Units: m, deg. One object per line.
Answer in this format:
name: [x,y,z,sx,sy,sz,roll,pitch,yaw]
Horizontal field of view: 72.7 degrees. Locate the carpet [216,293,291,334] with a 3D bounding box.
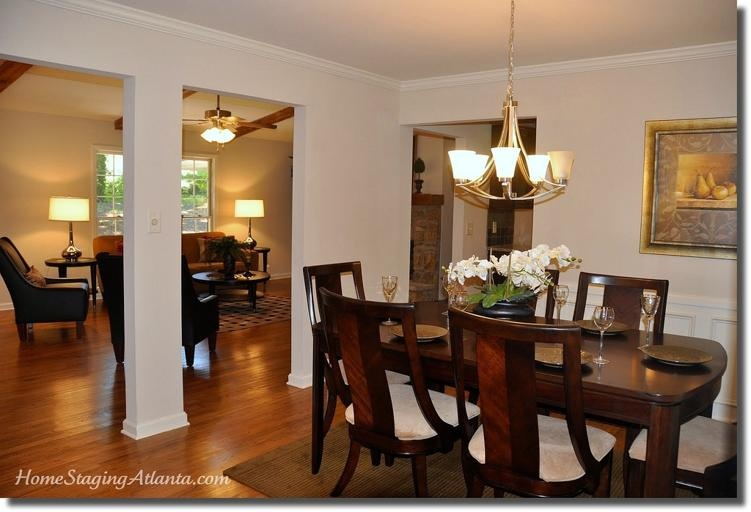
carpet: [-1.722,0.808,7.330,1.029,0.088,1.898,-1,9,-14]

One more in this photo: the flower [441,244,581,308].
flower: [0.813,0.126,3.201,0.841,0.325,0.571,-2,2,27]

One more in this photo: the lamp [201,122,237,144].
lamp: [-1.993,-1.560,6.488,0.335,0.194,0.355,0,10,-7]

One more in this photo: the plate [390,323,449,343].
plate: [0.270,0.455,3.123,0.342,0.050,0.347,2,9,2]

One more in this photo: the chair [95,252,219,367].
chair: [-2.005,0.551,4.899,1.081,1.191,1.317,-4,11,-27]

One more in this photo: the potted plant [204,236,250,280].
potted plant: [-2.251,0.033,7.625,0.680,0.692,0.690,1,12,-2]

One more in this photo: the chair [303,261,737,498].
chair: [0.830,0.741,2.930,1.539,0.739,0.784,2,4,38]

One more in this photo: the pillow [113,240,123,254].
pillow: [-3.836,-0.129,7.631,0.090,0.194,0.284,-5,11,-31]
